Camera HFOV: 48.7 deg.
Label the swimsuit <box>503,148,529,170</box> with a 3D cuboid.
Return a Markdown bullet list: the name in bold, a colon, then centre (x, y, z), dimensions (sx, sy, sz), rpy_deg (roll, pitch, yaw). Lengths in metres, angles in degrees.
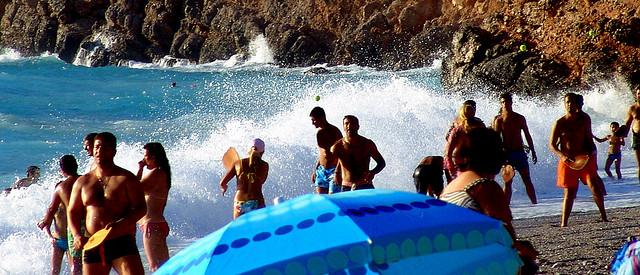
- **swimsuit**: centre (12.319, 1.312, 44.599), dimensions (1.379, 1.715, 1.058), rpy_deg (-5, -9, 1)

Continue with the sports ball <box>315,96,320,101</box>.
- **sports ball**: centre (-0.189, -2.922, 52.587), dimensions (0.330, 0.261, 0.278), rpy_deg (-7, -14, 20)

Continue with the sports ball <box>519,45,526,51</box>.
- **sports ball**: centre (15.786, -6.898, 55.159), dimensions (0.525, 0.414, 0.433), rpy_deg (-10, 25, 29)
